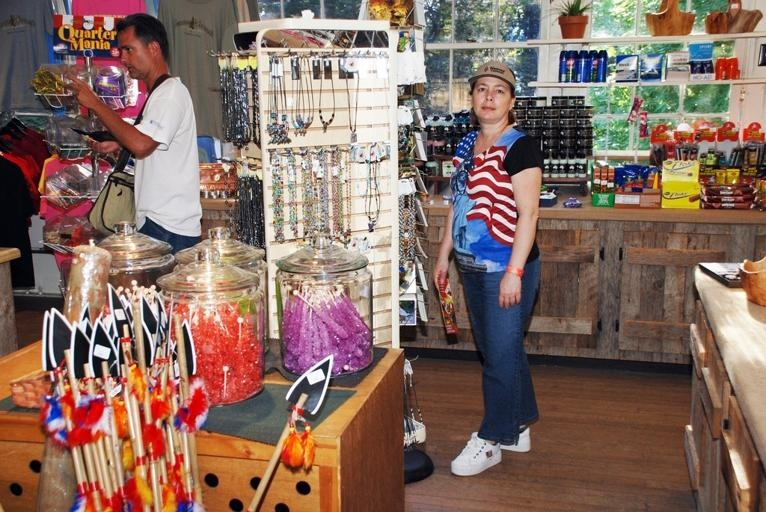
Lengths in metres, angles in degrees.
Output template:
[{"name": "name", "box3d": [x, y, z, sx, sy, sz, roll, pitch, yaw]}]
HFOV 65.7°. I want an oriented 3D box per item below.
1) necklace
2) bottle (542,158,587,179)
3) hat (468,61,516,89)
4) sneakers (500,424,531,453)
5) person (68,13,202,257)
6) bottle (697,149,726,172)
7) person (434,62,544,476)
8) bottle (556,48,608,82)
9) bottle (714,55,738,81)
[{"name": "necklace", "box3d": [-0.236, -0.408, 2.781, 0.672, 1.098, 0.101, -5, 11, -20]}, {"name": "bottle", "box3d": [1.513, -0.733, 4.945, 0.341, 0.158, 0.139, 1, 11, 14]}, {"name": "hat", "box3d": [0.555, -0.962, 3.145, 0.183, 0.154, 0.245, -11, 14, -43]}, {"name": "sneakers", "box3d": [0.747, 1.086, 3.476, 0.258, 0.109, 0.095, 1, 0, 9]}, {"name": "person", "box3d": [-1.326, -0.663, 3.263, 0.560, 1.305, 0.351, -5, 11, -19]}, {"name": "bottle", "box3d": [2.534, -0.735, 4.588, 0.224, 0.117, 0.120, -5, 29, -13]}, {"name": "person", "box3d": [0.560, 0.088, 3.266, 0.570, 2.231, 0.438, 1, 11, 12]}, {"name": "bottle", "box3d": [1.649, -1.568, 4.922, 0.372, 0.274, 0.128, 1, 11, 13]}, {"name": "bottle", "box3d": [2.850, -1.549, 4.937, 0.181, 0.202, 0.276, 4, 11, 26]}]
